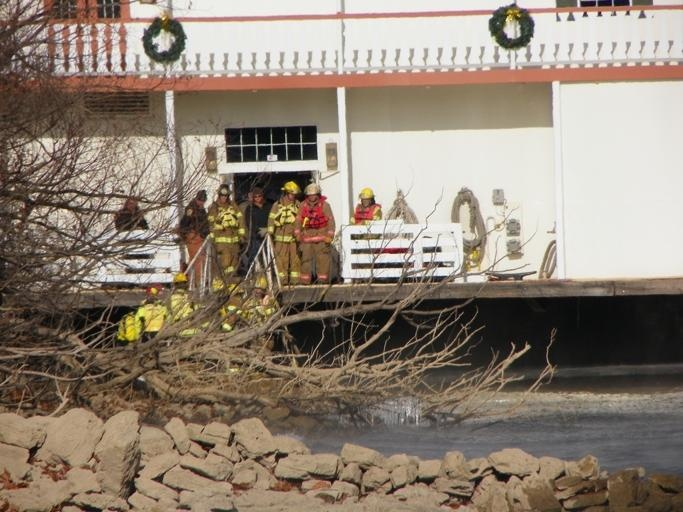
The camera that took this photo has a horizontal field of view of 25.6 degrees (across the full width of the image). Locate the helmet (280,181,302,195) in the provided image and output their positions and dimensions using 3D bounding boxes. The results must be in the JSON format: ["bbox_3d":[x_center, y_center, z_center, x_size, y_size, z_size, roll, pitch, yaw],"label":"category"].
[{"bbox_3d":[-1.074,-1.348,30.241,0.349,0.261,0.279,4,1,40],"label":"helmet"}]

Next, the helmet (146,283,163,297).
[{"bbox_3d":[-3.572,0.642,28.343,0.247,0.273,0.212,5,5,25],"label":"helmet"}]

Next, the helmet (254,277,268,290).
[{"bbox_3d":[-1.526,0.524,28.668,0.216,0.382,0.182,4,-5,-20],"label":"helmet"}]

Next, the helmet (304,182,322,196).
[{"bbox_3d":[-0.576,-1.342,30.501,0.316,0.237,0.488,-1,2,1],"label":"helmet"}]

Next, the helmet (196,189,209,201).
[{"bbox_3d":[-2.752,-1.168,29.603,0.162,0.260,0.237,3,-6,-5],"label":"helmet"}]
